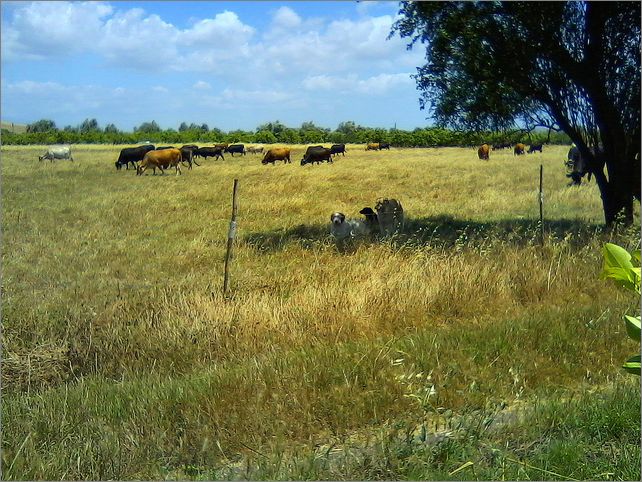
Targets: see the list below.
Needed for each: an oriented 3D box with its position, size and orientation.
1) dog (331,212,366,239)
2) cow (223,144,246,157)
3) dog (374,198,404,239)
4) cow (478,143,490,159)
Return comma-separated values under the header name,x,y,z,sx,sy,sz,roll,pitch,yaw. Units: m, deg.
name,x,y,z,sx,sy,sz,roll,pitch,yaw
dog,0.676,-0.427,14.431,0.541,0.665,1.464,1,8,26
cow,-9.697,-10.394,64.202,2.073,1.322,4.347,-4,7,-15
dog,1.812,-0.650,15.099,0.573,0.992,0.734,1,7,23
cow,14.133,-7.756,48.866,0.818,1.365,3.353,0,7,15
